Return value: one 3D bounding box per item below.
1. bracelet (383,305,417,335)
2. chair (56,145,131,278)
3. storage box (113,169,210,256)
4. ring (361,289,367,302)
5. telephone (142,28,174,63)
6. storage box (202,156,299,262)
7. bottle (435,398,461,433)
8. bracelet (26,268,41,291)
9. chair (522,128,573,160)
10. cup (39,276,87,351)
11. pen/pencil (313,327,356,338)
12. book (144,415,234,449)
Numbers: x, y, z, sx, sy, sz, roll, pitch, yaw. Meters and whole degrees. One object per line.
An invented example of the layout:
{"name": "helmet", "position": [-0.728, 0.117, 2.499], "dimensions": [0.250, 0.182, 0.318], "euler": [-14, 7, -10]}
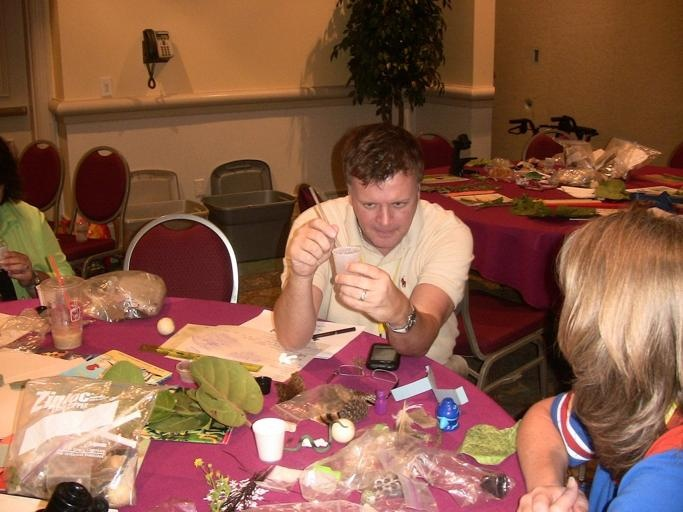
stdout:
{"name": "bracelet", "position": [0.175, 0.187, 1.476], "dimensions": [0.077, 0.033, 0.078], "euler": [-9, 35, 38]}
{"name": "chair", "position": [-1.899, -0.263, 3.860], "dimensions": [0.515, 1.139, 0.531], "euler": [-15, 26, -39]}
{"name": "storage box", "position": [-1.640, -0.510, 4.678], "dimensions": [0.840, 0.941, 0.725], "euler": [-4, 20, -12]}
{"name": "ring", "position": [0.060, 0.108, 1.355], "dimensions": [0.006, 0.022, 0.024], "euler": [13, -13, 6]}
{"name": "telephone", "position": [-1.752, -2.013, 4.688], "dimensions": [0.148, 0.268, 0.277], "euler": [16, 30, 30]}
{"name": "storage box", "position": [-0.920, -0.481, 4.700], "dimensions": [0.852, 1.058, 0.731], "euler": [-10, 23, -27]}
{"name": "bottle", "position": [0.259, 0.390, 1.205], "dimensions": [0.056, 0.063, 0.073], "euler": [-1, 6, 7]}
{"name": "bracelet", "position": [-1.339, 0.103, 2.125], "dimensions": [0.071, 0.094, 0.037], "euler": [8, 11, -1]}
{"name": "chair", "position": [1.785, -1.004, 4.388], "dimensions": [0.409, 0.255, 0.188], "euler": [-6, 16, -19]}
{"name": "cup", "position": [-0.877, 0.168, 1.580], "dimensions": [0.088, 0.230, 0.129], "euler": [-10, 20, -40]}
{"name": "pen/pencil", "position": [-0.024, 0.257, 1.654], "dimensions": [0.156, 0.018, 0.017], "euler": [-10, 11, -18]}
{"name": "book", "position": [-0.377, 0.428, 1.209], "dimensions": [0.209, 0.026, 0.076], "euler": [0, 15, 2]}
